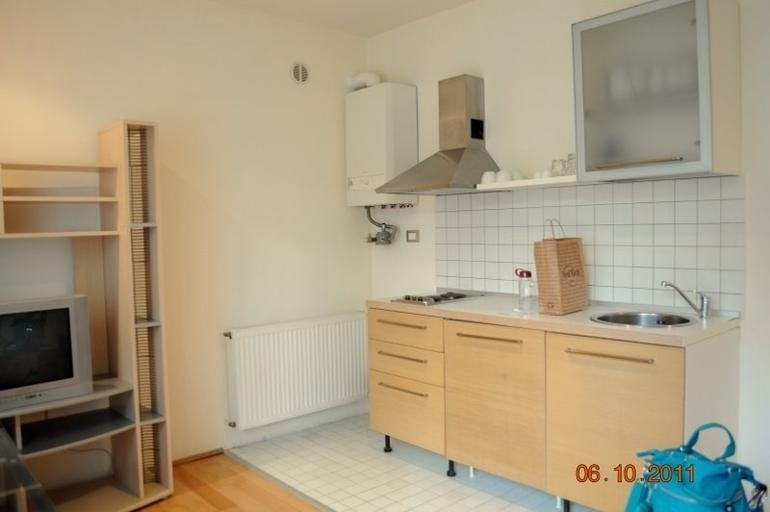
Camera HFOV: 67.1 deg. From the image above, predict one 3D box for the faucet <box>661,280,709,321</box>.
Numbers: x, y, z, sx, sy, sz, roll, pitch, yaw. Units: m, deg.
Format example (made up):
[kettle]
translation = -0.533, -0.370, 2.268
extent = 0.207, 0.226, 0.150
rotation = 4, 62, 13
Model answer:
[faucet]
translation = 1.922, 0.263, 3.695
extent = 0.279, 0.206, 0.199
rotation = 4, 12, 28

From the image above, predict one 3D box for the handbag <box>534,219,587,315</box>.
[handbag]
translation = 1.191, 0.117, 3.893
extent = 0.238, 0.495, 0.450
rotation = 9, 15, 43

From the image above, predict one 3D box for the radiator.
[radiator]
translation = -0.795, 0.936, 4.810
extent = 1.116, 0.623, 0.153
rotation = -4, 8, -36

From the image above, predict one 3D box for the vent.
[vent]
translation = 0.537, -0.951, 4.582
extent = 0.895, 0.849, 0.971
rotation = -4, 7, -29
